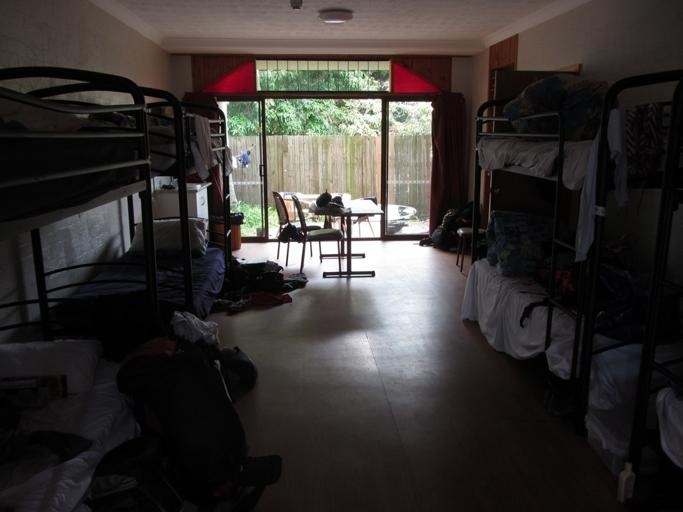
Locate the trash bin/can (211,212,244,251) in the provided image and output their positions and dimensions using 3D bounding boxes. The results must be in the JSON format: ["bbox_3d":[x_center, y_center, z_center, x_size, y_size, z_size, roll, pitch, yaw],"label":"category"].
[{"bbox_3d":[-1.660,-0.363,7.606,0.326,0.411,0.413,-3,17,-17],"label":"trash bin/can"}]

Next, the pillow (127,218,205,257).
[{"bbox_3d":[-1.678,-0.200,5.158,0.518,0.265,0.519,1,16,-10],"label":"pillow"}]

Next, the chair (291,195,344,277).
[{"bbox_3d":[-0.254,-0.246,6.395,0.441,0.656,0.382,-7,-7,-4],"label":"chair"}]

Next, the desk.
[{"bbox_3d":[0.096,-0.204,6.266,0.783,0.831,0.719,-4,11,-21],"label":"desk"}]

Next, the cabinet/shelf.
[{"bbox_3d":[-1.985,-0.505,6.532,0.478,0.808,0.876,-3,15,-5],"label":"cabinet/shelf"}]

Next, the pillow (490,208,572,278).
[{"bbox_3d":[1.511,-0.108,4.330,0.527,0.554,0.231,3,-10,5],"label":"pillow"}]

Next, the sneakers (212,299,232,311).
[{"bbox_3d":[-1.196,0.496,5.082,0.121,0.062,0.168,3,12,2],"label":"sneakers"}]

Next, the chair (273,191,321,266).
[{"bbox_3d":[-0.451,-0.334,6.496,0.565,0.923,0.518,-10,17,-30],"label":"chair"}]
